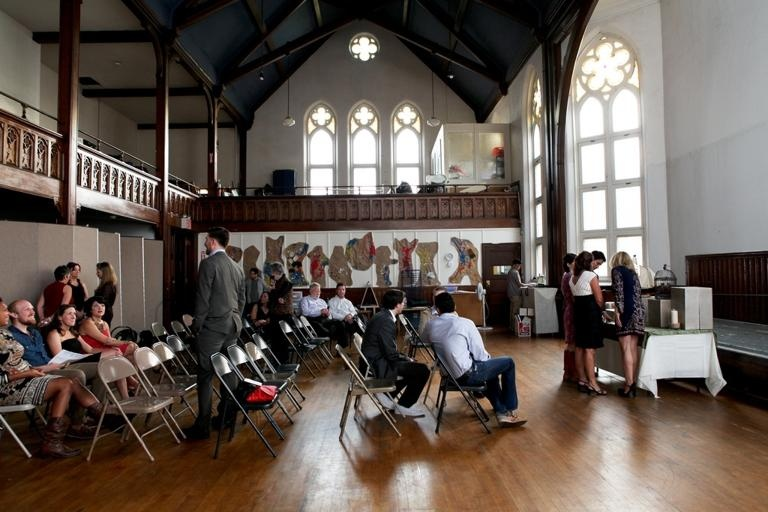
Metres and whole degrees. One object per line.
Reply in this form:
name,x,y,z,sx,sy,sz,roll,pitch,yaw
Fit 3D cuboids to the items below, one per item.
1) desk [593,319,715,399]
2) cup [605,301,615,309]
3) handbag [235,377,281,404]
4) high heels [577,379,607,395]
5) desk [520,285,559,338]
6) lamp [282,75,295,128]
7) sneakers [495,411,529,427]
desk,4.981,1.614,9.263,1.079,0.833,1.382,-1,-2,7
cup,4.283,0.927,10.137,0.190,0.161,0.194,0,-4,0
handbag,-1.816,1.941,7.631,0.437,0.183,0.365,1,3,-17
high heels,3.667,2.265,9.310,0.545,0.256,0.215,0,-2,6
desk,4.176,1.594,14.657,0.860,1.492,0.877,-7,-3,-39
lamp,-3.532,-5.698,19.664,0.470,1.850,2.889,-3,13,-9
sneakers,1.912,2.477,8.108,0.515,0.257,0.188,-2,4,-3
